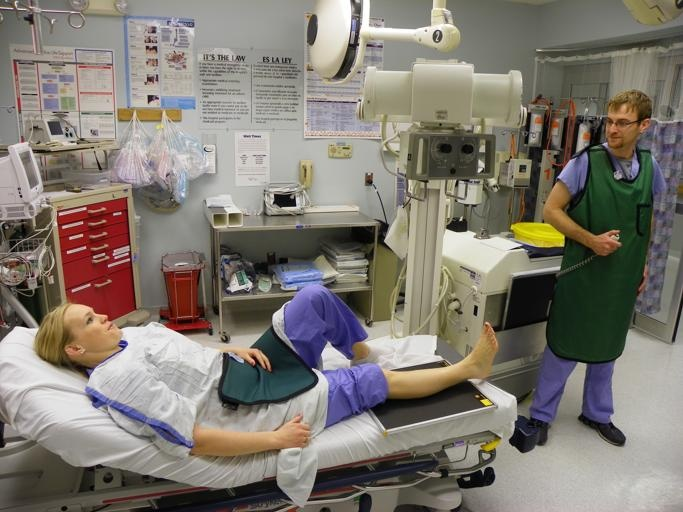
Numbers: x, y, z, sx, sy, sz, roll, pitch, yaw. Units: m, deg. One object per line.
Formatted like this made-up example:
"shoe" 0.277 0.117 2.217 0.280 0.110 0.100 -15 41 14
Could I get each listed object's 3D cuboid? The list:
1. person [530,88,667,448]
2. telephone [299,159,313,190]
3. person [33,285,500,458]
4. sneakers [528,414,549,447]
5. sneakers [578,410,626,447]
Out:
"person" 1.441 0.101 2.727 0.641 1.951 0.258 -2 15 -6
"telephone" -0.296 -0.699 4.214 0.126 0.256 0.061 -5 16 -14
"person" -0.321 0.483 2.274 1.698 0.651 0.874 0 6 -15
"sneakers" 1.109 0.975 2.715 0.078 0.098 0.247 -7 39 18
"sneakers" 1.582 1.039 2.938 0.090 0.095 0.226 -19 32 -29
